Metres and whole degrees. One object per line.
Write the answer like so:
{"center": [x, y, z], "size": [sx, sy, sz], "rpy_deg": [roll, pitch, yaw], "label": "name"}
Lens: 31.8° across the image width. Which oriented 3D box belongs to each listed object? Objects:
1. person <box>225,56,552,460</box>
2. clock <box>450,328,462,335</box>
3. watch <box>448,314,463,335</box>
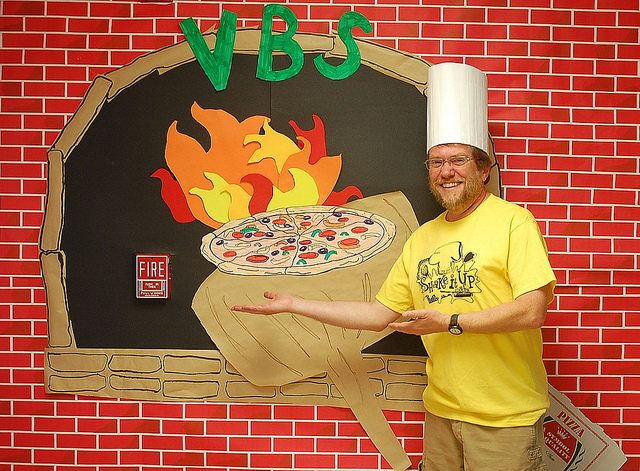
{"center": [0.603, 0.153, 5.839], "size": [1.227, 2.066, 0.849], "rpy_deg": [3, 10, 16], "label": "person"}
{"center": [0.668, 0.460, 5.519], "size": [0.040, 0.029, 0.035], "rpy_deg": [4, -6, -9], "label": "clock"}
{"center": [0.674, 0.425, 5.540], "size": [0.062, 0.096, 0.091], "rpy_deg": [1, 48, 13], "label": "watch"}
